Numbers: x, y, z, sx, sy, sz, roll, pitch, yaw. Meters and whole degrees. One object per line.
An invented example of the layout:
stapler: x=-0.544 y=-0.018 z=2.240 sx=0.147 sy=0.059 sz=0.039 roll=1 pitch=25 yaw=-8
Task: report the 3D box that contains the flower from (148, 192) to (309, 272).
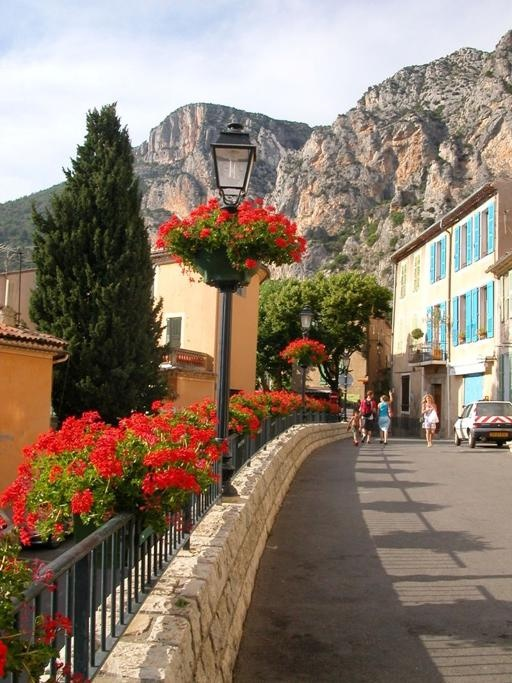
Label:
flower: x=-0.263 y=-0.924 z=7.981 sx=0.869 sy=0.559 sz=0.883 roll=1 pitch=3 yaw=45
